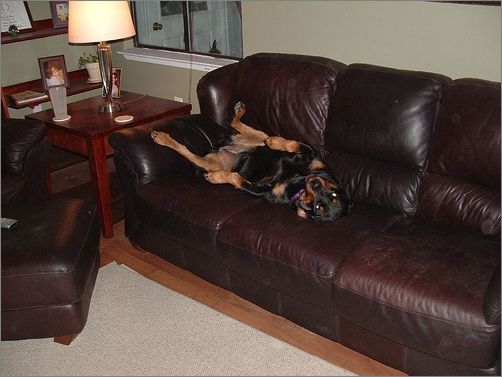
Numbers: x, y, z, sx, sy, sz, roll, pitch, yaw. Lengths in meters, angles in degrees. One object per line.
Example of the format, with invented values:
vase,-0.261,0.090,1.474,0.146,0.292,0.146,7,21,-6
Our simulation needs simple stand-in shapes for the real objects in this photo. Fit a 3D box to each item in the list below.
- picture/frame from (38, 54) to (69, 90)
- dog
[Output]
picture/frame,-1.845,-1.086,3.767,0.232,0.285,0.109,-17,27,-32
dog,0.053,-0.245,2.886,0.691,0.365,1.143,13,0,-38
